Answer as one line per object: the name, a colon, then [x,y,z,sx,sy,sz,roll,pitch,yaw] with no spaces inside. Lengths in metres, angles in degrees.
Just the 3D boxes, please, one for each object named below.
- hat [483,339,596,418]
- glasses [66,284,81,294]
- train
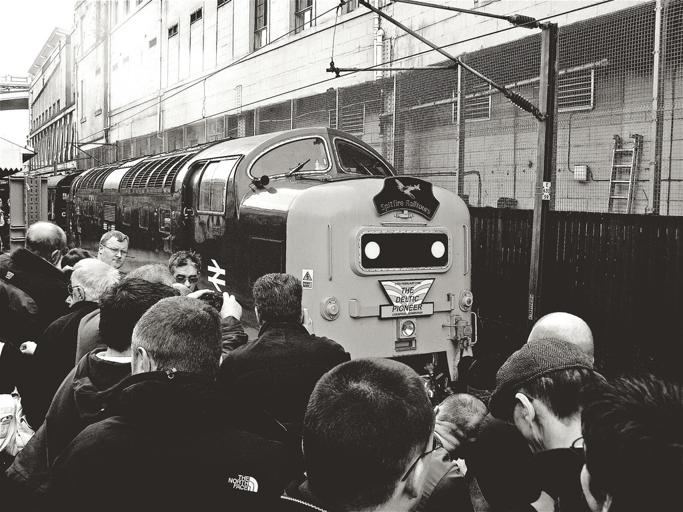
hat: [0.914,0.541,2.996,0.425,0.286,0.336,-6,-4,24]
glasses: [-2.073,0.254,4.961,0.101,0.038,0.106,0,-11,42]
train: [-1.680,-0.379,10.460,2.207,3.191,7.883,0,5,-30]
